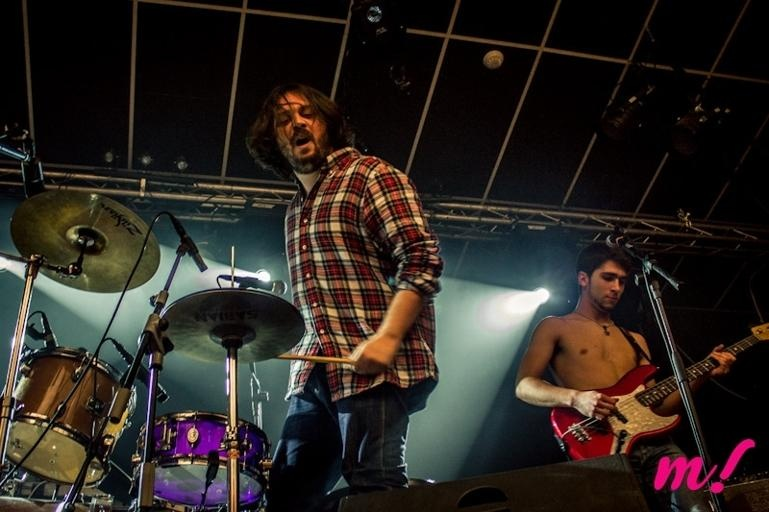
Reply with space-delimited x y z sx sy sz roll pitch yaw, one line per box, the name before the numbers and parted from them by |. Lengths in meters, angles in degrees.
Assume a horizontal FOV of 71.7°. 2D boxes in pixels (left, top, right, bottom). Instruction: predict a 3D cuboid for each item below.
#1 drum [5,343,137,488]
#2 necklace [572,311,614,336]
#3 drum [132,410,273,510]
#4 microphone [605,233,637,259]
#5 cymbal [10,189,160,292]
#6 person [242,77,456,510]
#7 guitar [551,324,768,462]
drum | -2.809 1.380 4.699 1.099 1.091 0.892 -21 -36 34
necklace | 2.182 0.689 5.533 0.282 0.075 0.224 25 -5 25
drum | -1.528 1.680 4.329 1.293 0.467 1.220 0 -37 0
microphone | 2.469 -0.096 5.598 0.193 0.137 0.644 -14 -26 40
cymbal | -2.623 -0.100 4.621 0.246 1.090 1.141 -42 -48 19
person | -0.289 0.058 3.483 1.109 2.864 1.311 22 -36 -33
guitar | 2.806 1.450 5.433 2.658 0.777 0.289 -26 -40 -14
